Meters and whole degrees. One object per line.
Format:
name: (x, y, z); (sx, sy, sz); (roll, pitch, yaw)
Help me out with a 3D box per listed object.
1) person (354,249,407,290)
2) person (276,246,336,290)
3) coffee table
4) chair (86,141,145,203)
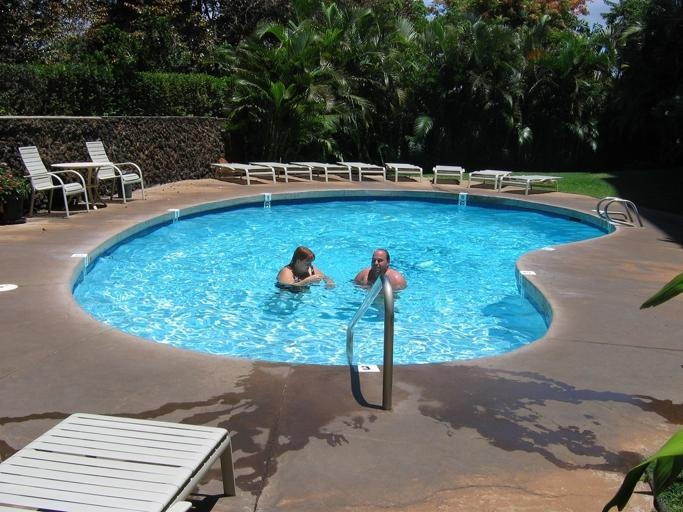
person: (0.602, 0.206, 7.235); (0.749, 0.720, 1.112); (-1, 12, -4)
person: (-0.561, 0.240, 7.343); (1.007, 0.673, 0.663); (6, 18, 6)
coffee table: (-5.617, -1.542, 10.594); (1.239, 0.735, 1.095); (-2, 3, 16)
chair: (-5.156, -1.901, 10.916); (0.981, 1.087, 0.844); (5, 16, 2)
